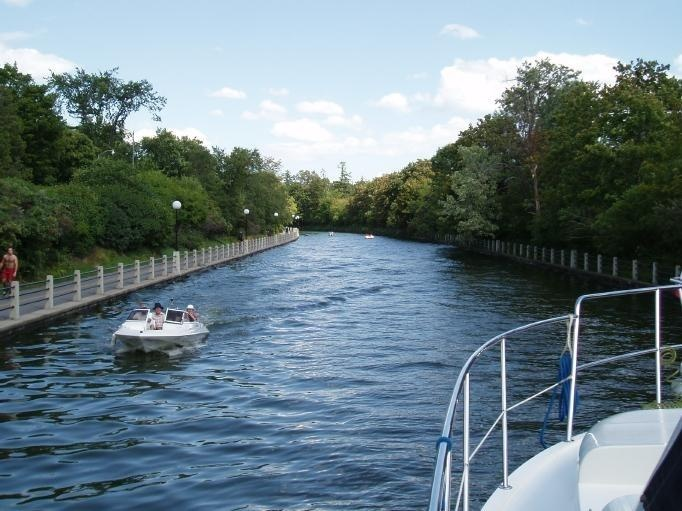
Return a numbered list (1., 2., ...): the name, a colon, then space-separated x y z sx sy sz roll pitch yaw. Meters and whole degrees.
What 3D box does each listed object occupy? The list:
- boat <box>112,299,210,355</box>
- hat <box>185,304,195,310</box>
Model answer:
1. boat: -6.239 2.327 26.182 2.702 1.051 3.699 6 7 -1
2. hat: -5.305 1.897 27.068 0.338 0.120 0.401 1 2 -10
